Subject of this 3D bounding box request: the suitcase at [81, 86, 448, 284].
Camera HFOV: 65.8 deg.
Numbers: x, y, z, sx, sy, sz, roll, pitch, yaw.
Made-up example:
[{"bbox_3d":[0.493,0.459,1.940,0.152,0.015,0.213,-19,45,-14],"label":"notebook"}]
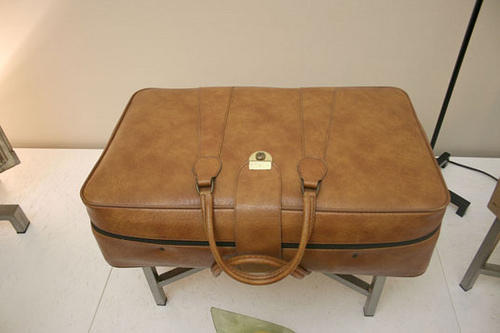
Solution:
[{"bbox_3d":[0.040,0.089,1.423,1.185,0.508,0.630,-1,38,0],"label":"suitcase"}]
